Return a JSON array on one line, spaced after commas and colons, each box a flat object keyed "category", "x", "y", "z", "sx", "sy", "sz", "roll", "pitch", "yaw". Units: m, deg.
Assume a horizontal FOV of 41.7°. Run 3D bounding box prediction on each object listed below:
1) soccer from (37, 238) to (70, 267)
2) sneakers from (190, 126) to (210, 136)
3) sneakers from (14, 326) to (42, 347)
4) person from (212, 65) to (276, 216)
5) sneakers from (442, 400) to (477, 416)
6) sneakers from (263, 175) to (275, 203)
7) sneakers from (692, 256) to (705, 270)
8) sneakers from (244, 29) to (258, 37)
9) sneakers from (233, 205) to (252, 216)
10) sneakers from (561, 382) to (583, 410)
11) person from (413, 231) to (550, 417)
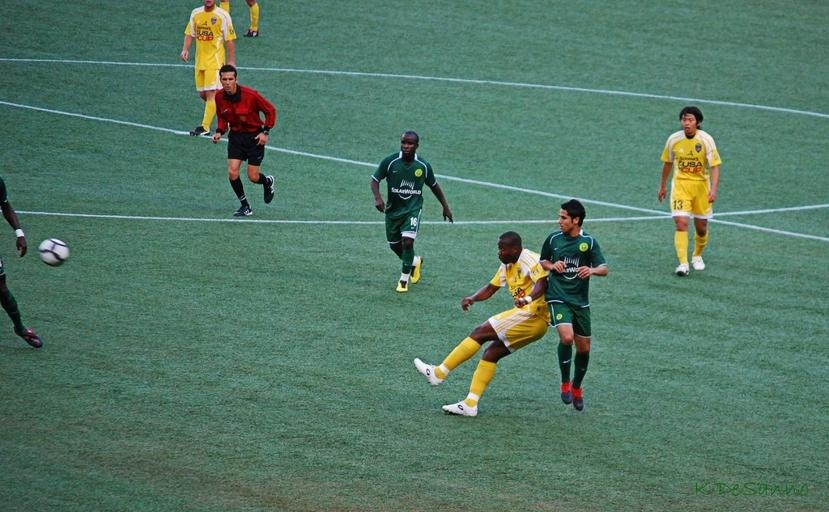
[{"category": "soccer", "x": -5.724, "y": -0.093, "z": 17.448, "sx": 0.495, "sy": 0.429, "sz": 0.453, "roll": -12, "pitch": 20, "yaw": -7}, {"category": "sneakers", "x": -4.478, "y": -2.648, "z": 23.227, "sx": 0.539, "sy": 0.200, "sz": 0.183, "roll": 2, "pitch": 20, "yaw": 14}, {"category": "sneakers", "x": -6.006, "y": 1.274, "z": 16.836, "sx": 0.524, "sy": 0.181, "sz": 0.219, "roll": 35, "pitch": -25, "yaw": -4}, {"category": "person", "x": -3.239, "y": -2.191, "z": 20.668, "sx": 1.123, "sy": 2.861, "sz": 0.740, "roll": -1, "pitch": 18, "yaw": -10}, {"category": "sneakers", "x": 0.701, "y": 2.304, "z": 16.351, "sx": 0.603, "sy": 0.235, "sz": 0.198, "roll": 4, "pitch": 5, "yaw": 3}, {"category": "sneakers", "x": -2.821, "y": -1.301, "z": 21.179, "sx": 0.227, "sy": 0.587, "sz": 0.267, "roll": 1, "pitch": 19, "yaw": 6}, {"category": "sneakers", "x": 5.204, "y": 0.148, "z": 19.962, "sx": 0.168, "sy": 0.120, "sz": 0.301, "roll": -1, "pitch": 21, "yaw": 6}, {"category": "sneakers", "x": -4.341, "y": -5.946, "z": 29.099, "sx": 0.415, "sy": 0.155, "sz": 0.124, "roll": 1, "pitch": 43, "yaw": 0}, {"category": "sneakers", "x": -3.266, "y": -0.840, "z": 20.827, "sx": 0.404, "sy": 0.153, "sz": 0.148, "roll": -3, "pitch": 13, "yaw": -12}, {"category": "sneakers", "x": 2.410, "y": 2.141, "z": 16.554, "sx": 0.281, "sy": 0.418, "sz": 0.182, "roll": -6, "pitch": -12, "yaw": 8}, {"category": "person", "x": 1.155, "y": 1.017, "z": 16.403, "sx": 1.607, "sy": 2.708, "sz": 0.733, "roll": -7, "pitch": 20, "yaw": -26}]
